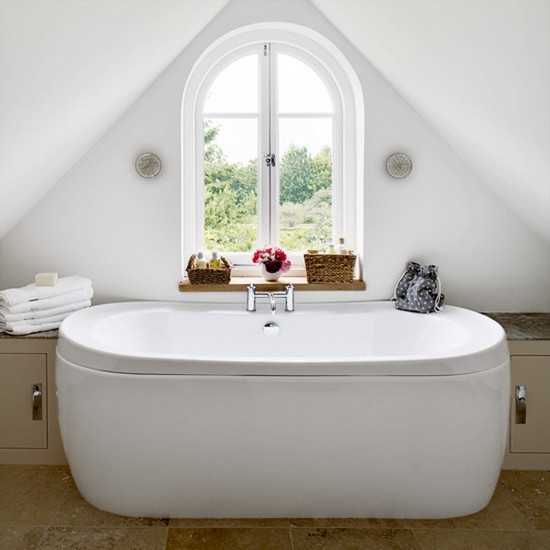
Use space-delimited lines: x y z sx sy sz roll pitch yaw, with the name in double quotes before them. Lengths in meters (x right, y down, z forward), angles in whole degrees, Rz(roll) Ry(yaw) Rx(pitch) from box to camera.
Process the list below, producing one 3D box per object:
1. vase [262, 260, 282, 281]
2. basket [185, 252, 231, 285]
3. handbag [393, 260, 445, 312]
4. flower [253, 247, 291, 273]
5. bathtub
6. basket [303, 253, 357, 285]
"vase" -0.018 -0.024 3.072 0.102 0.079 0.103 0 4 -5
"basket" -0.381 -0.043 3.101 0.246 0.175 0.197 -1 7 -5
"handbag" 0.786 0.068 2.952 0.181 0.269 0.281 3 10 -40
"flower" -0.022 -0.086 3.128 0.161 0.100 0.162 12 12 -2
"bathtub" 0.014 0.573 2.576 2.043 0.762 0.994 0 7 2
"basket" 0.316 -0.038 3.038 0.232 0.133 0.171 1 5 2
